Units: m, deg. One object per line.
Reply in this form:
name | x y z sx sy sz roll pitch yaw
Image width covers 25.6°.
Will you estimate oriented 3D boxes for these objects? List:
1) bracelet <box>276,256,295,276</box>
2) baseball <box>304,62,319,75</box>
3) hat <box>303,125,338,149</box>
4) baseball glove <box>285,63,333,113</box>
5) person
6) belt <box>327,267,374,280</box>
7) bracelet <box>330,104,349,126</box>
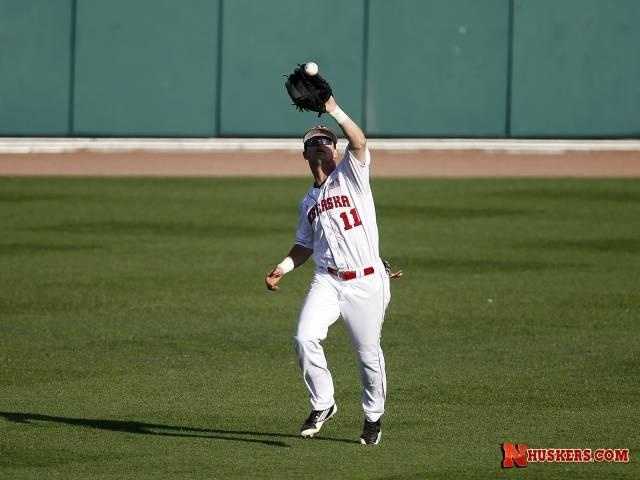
bracelet | -0.373 0.289 15.032 0.210 0.128 0.086 -39 2 -38
baseball | -0.083 -1.752 14.410 0.125 0.135 0.205 -3 14 6
hat | -0.012 -1.113 14.926 0.306 0.227 0.439 -2 -7 -5
baseball glove | -0.111 -1.542 14.465 0.448 0.568 0.232 -5 13 -1
person | 0.189 0.122 14.701 1.037 3.942 0.992 -4 13 2
belt | 0.335 0.352 14.647 0.486 0.132 0.071 -4 13 4
bracelet | 0.199 -1.285 14.513 0.139 0.217 0.098 -38 -8 -13
